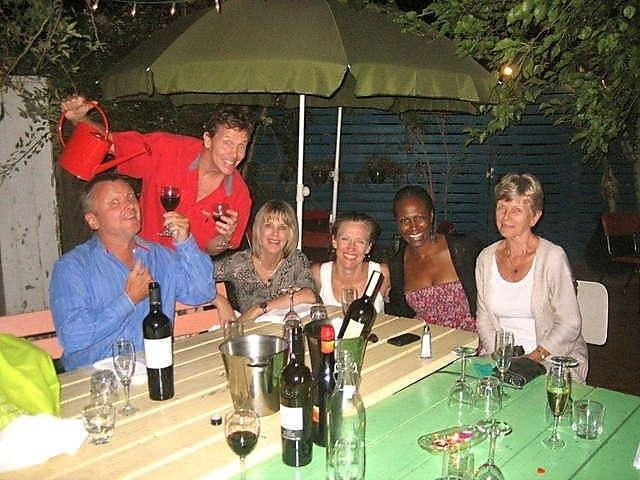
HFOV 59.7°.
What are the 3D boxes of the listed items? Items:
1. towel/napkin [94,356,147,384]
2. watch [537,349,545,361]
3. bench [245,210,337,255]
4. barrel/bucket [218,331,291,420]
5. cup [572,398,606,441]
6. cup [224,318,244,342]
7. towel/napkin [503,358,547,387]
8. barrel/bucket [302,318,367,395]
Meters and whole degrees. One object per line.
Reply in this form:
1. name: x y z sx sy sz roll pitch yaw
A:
1. towel/napkin: -1.026 0.700 2.955 0.177 0.052 0.173 5 -4 -42
2. watch: 1.455 0.752 3.642 0.046 0.064 0.020 -3 -2 -2
3. bench: -0.268 -0.073 5.557 0.849 0.789 0.192 -1 -5 7
4. barrel/bucket: -0.295 0.662 2.696 0.334 0.292 0.372 -2 4 -12
5. cup: 1.306 0.886 2.695 0.166 0.172 0.165 11 -23 5
6. cup: -0.502 0.522 3.225 0.127 0.132 0.124 -1 -6 0
7. towel/napkin: 1.117 0.710 3.032 0.191 0.057 0.144 -11 19 -38
8. barrel/bucket: 0.087 0.586 2.807 0.313 0.337 0.334 1 -5 0
